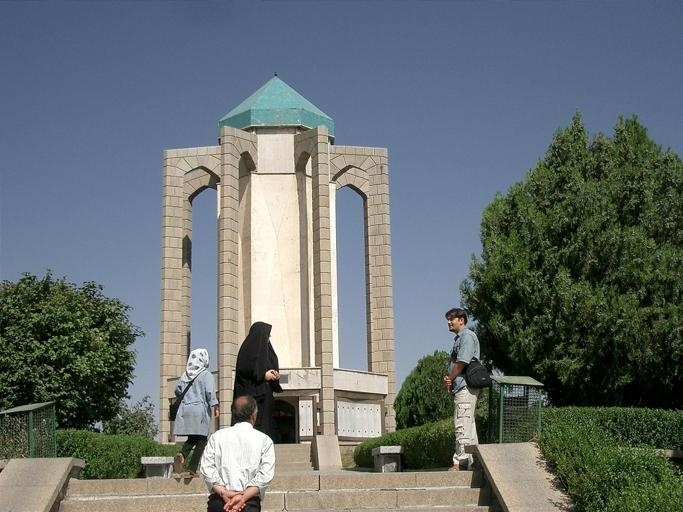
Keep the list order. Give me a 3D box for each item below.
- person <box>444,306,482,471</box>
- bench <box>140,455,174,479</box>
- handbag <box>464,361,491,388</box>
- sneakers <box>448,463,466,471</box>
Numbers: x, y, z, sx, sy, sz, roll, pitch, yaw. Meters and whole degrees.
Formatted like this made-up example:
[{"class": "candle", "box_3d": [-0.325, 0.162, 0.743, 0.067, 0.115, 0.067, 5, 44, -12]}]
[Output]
[{"class": "person", "box_3d": [2.430, 2.680, 15.810, 0.713, 3.046, 1.239, -3, -15, 7]}, {"class": "bench", "box_3d": [-4.337, 4.982, 18.690, 0.650, 0.475, 0.910, 1, -18, -8]}, {"class": "handbag", "box_3d": [2.772, 2.352, 15.781, 0.638, 0.609, 0.361, 7, -18, -28]}, {"class": "sneakers", "box_3d": [2.328, 4.224, 15.755, 0.329, 0.161, 0.130, 11, -15, -16]}]
